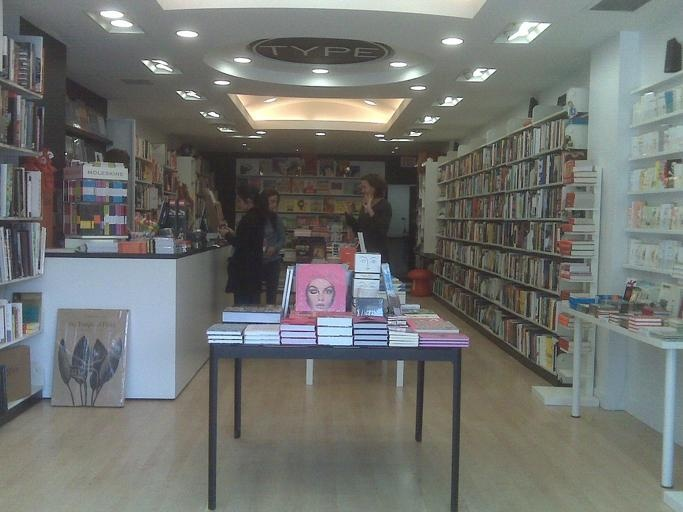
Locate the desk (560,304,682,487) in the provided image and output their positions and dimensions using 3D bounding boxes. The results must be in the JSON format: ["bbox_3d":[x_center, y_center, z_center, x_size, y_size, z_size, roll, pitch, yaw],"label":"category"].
[{"bbox_3d":[2.125,0.956,4.159,0.394,0.985,1.343,1,7,-3],"label":"desk"}]

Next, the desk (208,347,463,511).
[{"bbox_3d":[-0.039,1.240,3.753,1.689,1.097,1.038,1,6,-1],"label":"desk"}]
